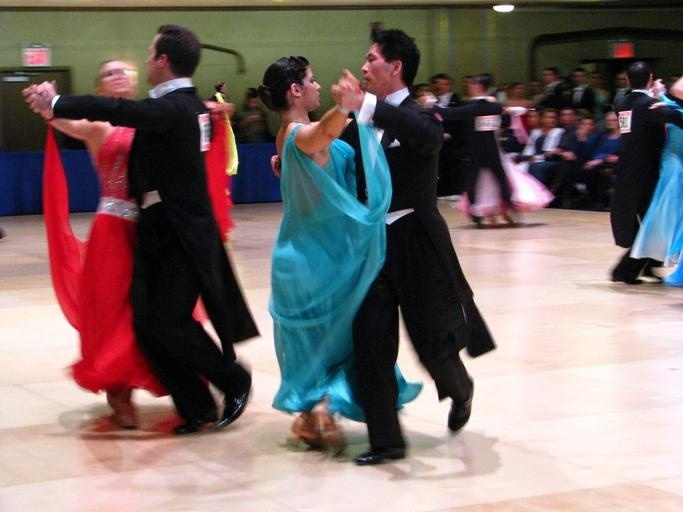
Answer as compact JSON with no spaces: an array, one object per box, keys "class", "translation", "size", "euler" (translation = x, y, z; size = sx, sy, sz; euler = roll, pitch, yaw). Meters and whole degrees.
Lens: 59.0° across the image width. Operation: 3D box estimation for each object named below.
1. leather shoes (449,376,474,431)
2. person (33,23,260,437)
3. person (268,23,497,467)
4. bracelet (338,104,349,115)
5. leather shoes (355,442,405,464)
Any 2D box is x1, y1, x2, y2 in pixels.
[{"class":"leather shoes","translation":[0.543,0.718,2.869],"size":[0.124,0.255,0.101],"euler":[-8,24,-25]},{"class":"person","translation":[-0.880,-0.125,2.975],"size":[0.840,2.011,0.432],"euler":[-6,13,-21]},{"class":"person","translation":[0.256,-0.047,2.583],"size":[0.505,1.873,0.708],"euler":[8,16,39]},{"class":"bracelet","translation":[0.007,-0.549,2.249],"size":[0.030,0.035,0.036],"euler":[2,14,44]},{"class":"leather shoes","translation":[0.167,0.830,2.552],"size":[0.223,0.079,0.075],"euler":[0,-5,-16]}]
